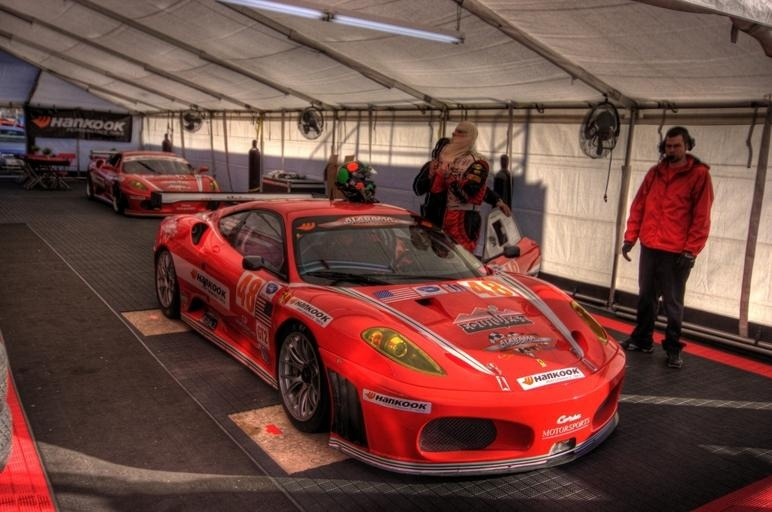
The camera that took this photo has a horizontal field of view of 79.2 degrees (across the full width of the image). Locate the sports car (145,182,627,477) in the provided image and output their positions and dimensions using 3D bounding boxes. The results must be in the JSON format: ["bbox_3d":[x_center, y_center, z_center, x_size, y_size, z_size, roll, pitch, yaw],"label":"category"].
[{"bbox_3d":[-0.165,0.455,4.239,3.907,1.648,1.882,14,18,39],"label":"sports car"}]

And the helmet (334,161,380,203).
[{"bbox_3d":[-0.384,-0.959,5.942,0.574,0.506,0.409,2,9,-4],"label":"helmet"}]

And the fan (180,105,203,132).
[{"bbox_3d":[-7.960,-5.623,19.337,0.540,0.999,1.899,-6,16,-30],"label":"fan"}]

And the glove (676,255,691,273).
[{"bbox_3d":[3.334,0.092,5.249,0.148,0.181,0.069,19,12,18],"label":"glove"}]

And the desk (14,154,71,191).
[{"bbox_3d":[-13.491,-3.332,18.577,1.434,1.293,0.931,-7,18,-34],"label":"desk"}]

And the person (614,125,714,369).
[{"bbox_3d":[3.226,-0.117,5.420,0.911,2.671,0.516,17,20,41],"label":"person"}]

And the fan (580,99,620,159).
[{"bbox_3d":[3.293,-1.950,7.213,0.630,0.773,0.332,0,8,10],"label":"fan"}]
